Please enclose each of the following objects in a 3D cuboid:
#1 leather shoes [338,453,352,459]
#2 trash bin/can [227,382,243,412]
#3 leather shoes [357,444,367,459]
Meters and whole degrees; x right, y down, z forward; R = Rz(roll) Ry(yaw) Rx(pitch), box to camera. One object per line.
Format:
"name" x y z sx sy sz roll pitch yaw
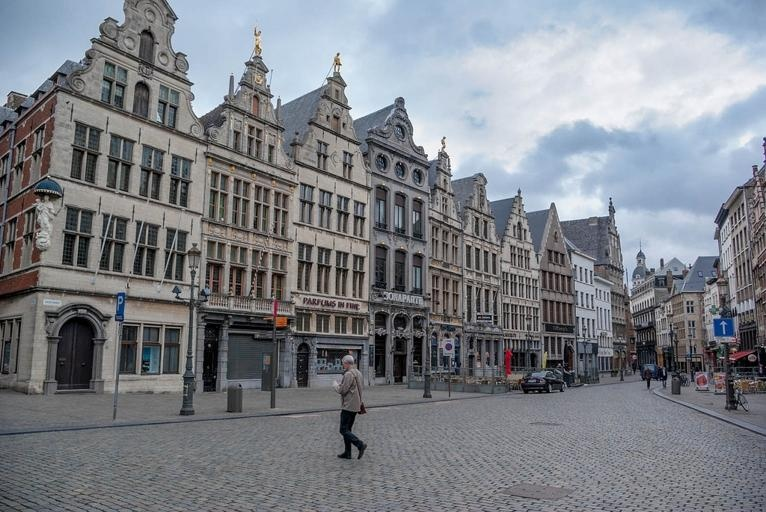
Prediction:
"leather shoes" -1.210 6.107 20.608 0.447 0.187 0.166 -1 -8 30
"trash bin/can" -6.710 6.354 29.920 0.585 1.186 0.818 4 -15 -18
"leather shoes" -0.637 5.924 20.292 0.241 0.577 0.209 12 4 -2
